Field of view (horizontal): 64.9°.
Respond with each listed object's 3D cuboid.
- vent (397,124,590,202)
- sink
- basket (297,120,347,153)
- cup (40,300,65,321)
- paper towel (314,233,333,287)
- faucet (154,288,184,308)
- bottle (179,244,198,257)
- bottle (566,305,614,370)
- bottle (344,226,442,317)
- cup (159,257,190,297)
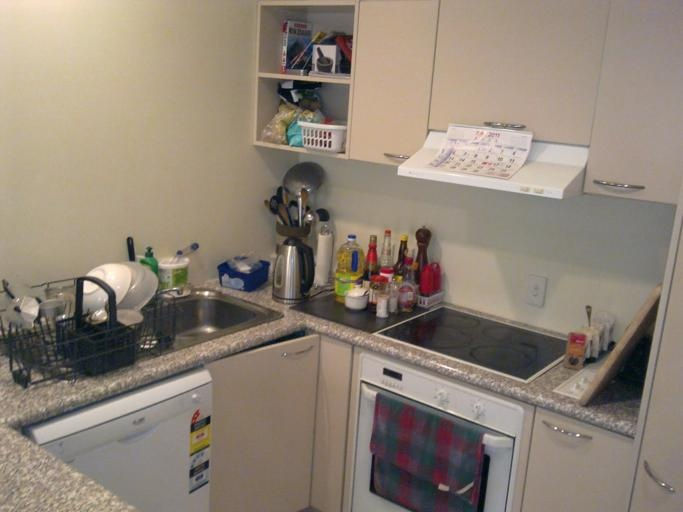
[{"bbox_3d":[0.602,-0.392,2.154,0.702,0.204,0.302,15,24,25],"label":"vent"},{"bbox_3d":[-0.684,0.294,2.585,0.292,0.144,0.355,20,25,38],"label":"sink"},{"bbox_3d":[-0.086,-0.605,2.660,0.200,0.102,0.153,18,22,41],"label":"basket"},{"bbox_3d":[-1.059,0.181,1.964,0.074,0.049,0.075,4,19,-1],"label":"cup"},{"bbox_3d":[-0.095,-0.001,2.959,0.096,0.268,0.238,4,21,-1],"label":"paper towel"},{"bbox_3d":[-0.808,0.175,2.520,0.091,0.046,0.122,7,18,26],"label":"faucet"},{"bbox_3d":[-0.777,-0.031,2.726,0.035,0.039,0.123,12,33,32],"label":"bottle"},{"bbox_3d":[1.066,0.317,2.351,0.133,0.210,0.445,7,25,34],"label":"bottle"},{"bbox_3d":[0.271,0.094,2.700,0.171,0.333,0.320,16,25,30],"label":"bottle"},{"bbox_3d":[-0.805,0.093,2.681,0.158,0.177,0.165,2,11,0],"label":"cup"}]
